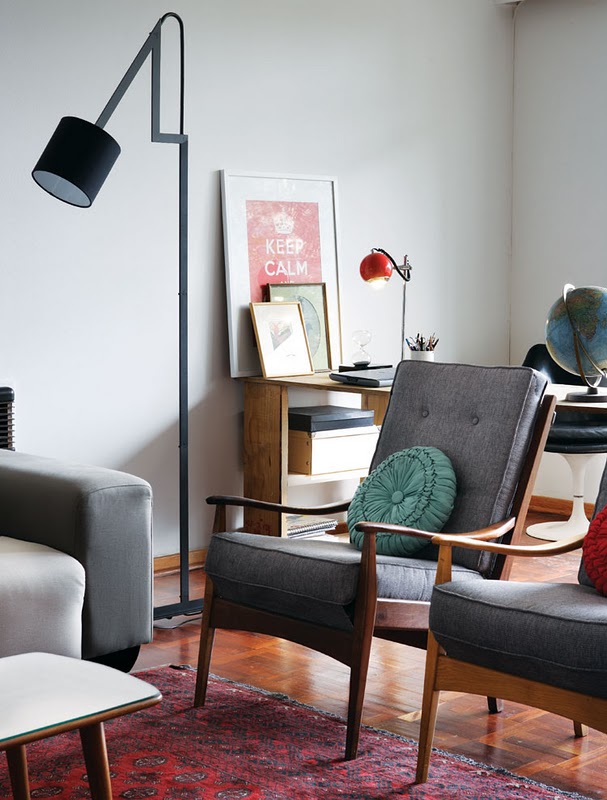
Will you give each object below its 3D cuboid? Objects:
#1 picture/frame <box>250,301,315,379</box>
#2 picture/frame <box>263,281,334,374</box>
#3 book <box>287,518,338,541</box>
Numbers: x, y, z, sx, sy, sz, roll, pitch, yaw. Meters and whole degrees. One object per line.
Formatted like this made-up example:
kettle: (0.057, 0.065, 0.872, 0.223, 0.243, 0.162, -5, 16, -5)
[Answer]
picture/frame: (-0.119, -0.288, 3.423, 0.360, 0.414, 0.030, -12, -4, -44)
picture/frame: (-0.040, -0.366, 3.503, 0.046, 0.544, 0.470, -6, -9, 37)
book: (0.034, 0.630, 3.386, 0.216, 0.057, 0.213, -1, 2, -11)
